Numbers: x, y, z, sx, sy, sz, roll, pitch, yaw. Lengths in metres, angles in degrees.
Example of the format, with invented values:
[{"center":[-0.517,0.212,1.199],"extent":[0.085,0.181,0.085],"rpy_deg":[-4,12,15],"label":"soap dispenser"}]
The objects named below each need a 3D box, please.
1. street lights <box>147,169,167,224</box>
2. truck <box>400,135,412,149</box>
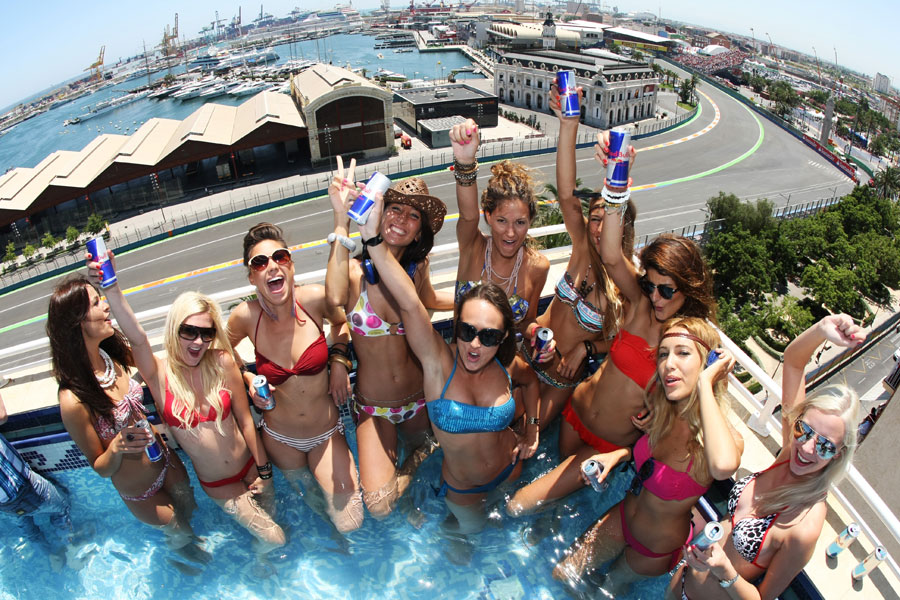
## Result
[{"center":[-26.290,-9.184,48.698],"extent":[0.677,5.585,0.564],"rpy_deg":[-11,-2,19],"label":"street lights"},{"center":[-4.926,-17.343,60.186],"extent":[1.016,0.908,1.782],"rpy_deg":[-6,41,-12],"label":"truck"}]
